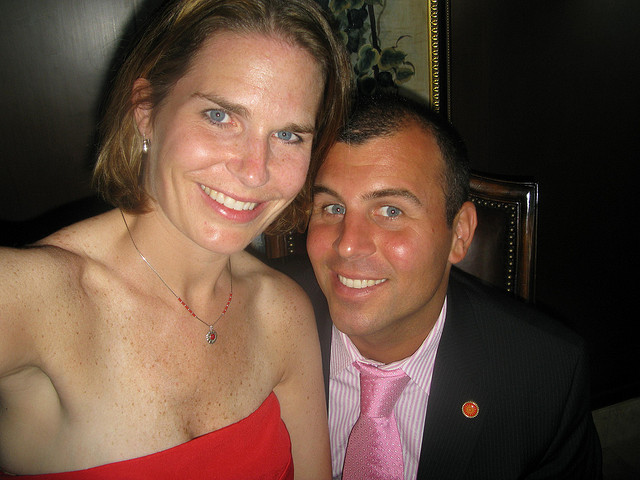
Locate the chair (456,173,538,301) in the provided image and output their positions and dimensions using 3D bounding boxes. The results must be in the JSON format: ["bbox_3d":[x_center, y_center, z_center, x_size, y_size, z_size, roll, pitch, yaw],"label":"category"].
[{"bbox_3d":[0.863,-0.019,3.062,0.341,0.663,0.347,14,33,26],"label":"chair"}]

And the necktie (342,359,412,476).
[{"bbox_3d":[0.263,0.812,2.807,0.264,0.511,0.148,6,1,11],"label":"necktie"}]
